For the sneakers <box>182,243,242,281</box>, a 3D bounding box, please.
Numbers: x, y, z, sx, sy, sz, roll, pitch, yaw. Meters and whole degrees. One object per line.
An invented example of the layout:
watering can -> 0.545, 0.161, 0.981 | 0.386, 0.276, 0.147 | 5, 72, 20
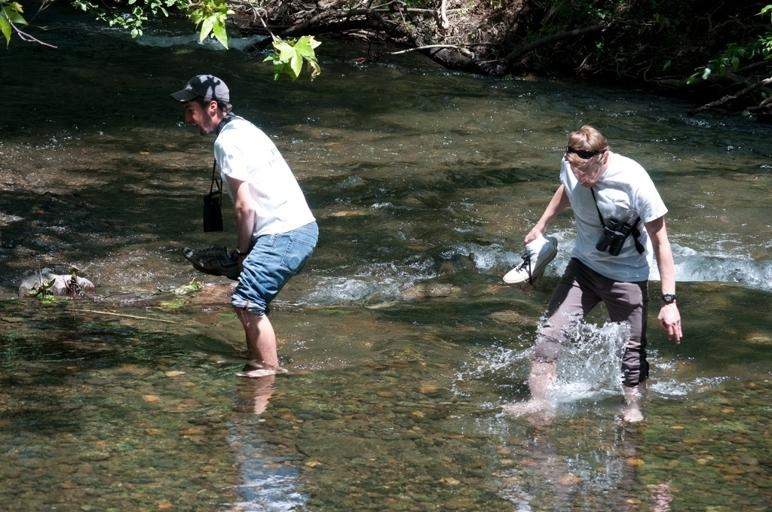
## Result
sneakers -> -1.791, 0.049, 7.665 | 0.892, 0.227, 0.223 | 8, 31, 2

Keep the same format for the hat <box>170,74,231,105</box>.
hat -> -1.712, -1.579, 7.427 | 0.588, 0.171, 0.299 | 4, 8, -6

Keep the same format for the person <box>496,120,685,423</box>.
person -> 2.047, 0.154, 7.225 | 1.248, 2.682, 0.881 | 8, 20, 15

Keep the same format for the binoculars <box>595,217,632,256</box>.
binoculars -> 2.081, -0.186, 7.216 | 0.397, 0.316, 0.137 | 11, 33, 9
